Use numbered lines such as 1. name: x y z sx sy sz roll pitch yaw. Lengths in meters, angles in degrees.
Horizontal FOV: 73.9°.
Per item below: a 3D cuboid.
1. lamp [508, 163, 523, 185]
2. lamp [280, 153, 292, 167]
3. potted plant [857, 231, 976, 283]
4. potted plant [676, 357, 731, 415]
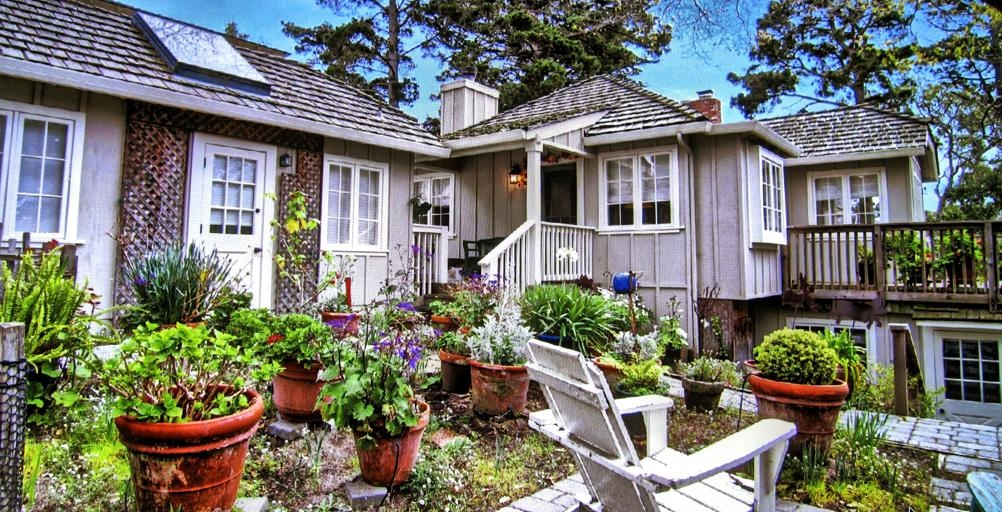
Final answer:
1. lamp: 0.368 -2.189 17.915 0.488 0.519 0.170 0 -1 41
2. lamp: -4.730 -2.096 14.601 0.145 0.414 0.319 -1 0 38
3. potted plant: 9.988 0.066 15.869 1.740 1.167 1.554 -1 -7 16
4. potted plant: 3.919 2.375 12.419 0.983 1.099 0.972 0 -4 -9
